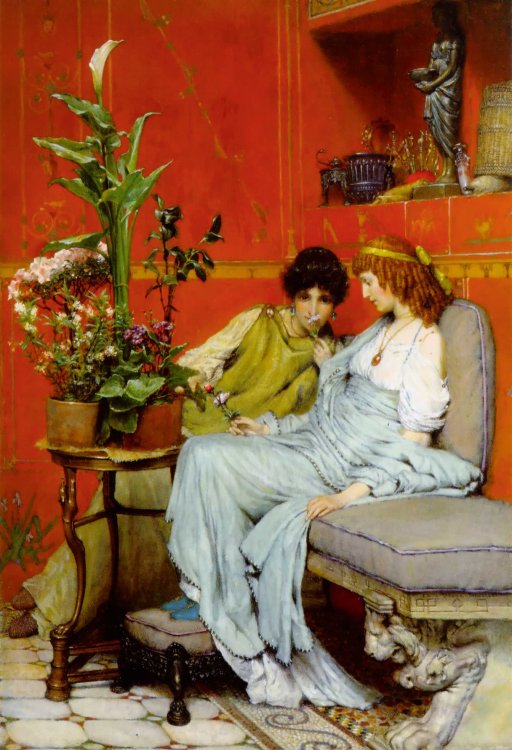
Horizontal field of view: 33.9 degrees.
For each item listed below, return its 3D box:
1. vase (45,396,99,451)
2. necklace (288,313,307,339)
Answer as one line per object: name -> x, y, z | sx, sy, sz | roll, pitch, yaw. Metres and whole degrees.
vase -> -0.547, 0.151, 2.593 | 0.157, 0.120, 0.161 | 5, 3, 45
necklace -> 0.165, -0.184, 3.264 | 0.081, 0.061, 0.097 | 0, 8, 6
